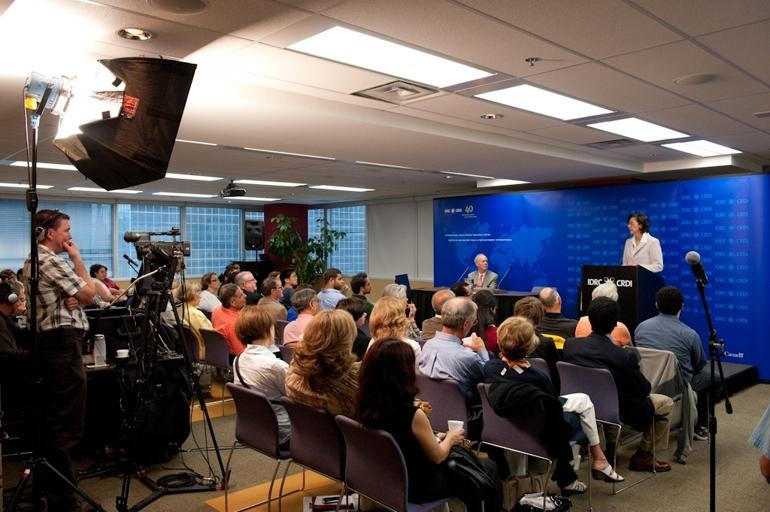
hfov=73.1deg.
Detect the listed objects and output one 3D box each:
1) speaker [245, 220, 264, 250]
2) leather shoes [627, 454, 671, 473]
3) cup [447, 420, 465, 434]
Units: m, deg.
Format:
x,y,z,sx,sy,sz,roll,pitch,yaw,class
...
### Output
x,y,z,sx,sy,sz,roll,pitch,yaw,class
-3.204,-0.504,12.792,0.407,0.755,0.569,1,1,-19,speaker
2.520,2.013,5.043,0.406,0.154,0.161,-2,-1,2,leather shoes
0.511,1.214,3.721,0.098,0.095,0.226,1,1,6,cup
